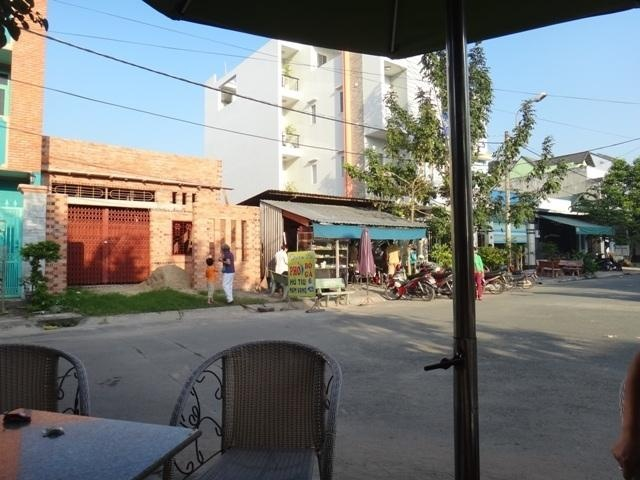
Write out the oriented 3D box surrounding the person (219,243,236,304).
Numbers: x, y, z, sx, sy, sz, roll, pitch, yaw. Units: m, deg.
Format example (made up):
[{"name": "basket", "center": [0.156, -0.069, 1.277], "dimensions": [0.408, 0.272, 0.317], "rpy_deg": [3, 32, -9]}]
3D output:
[{"name": "person", "center": [-2.617, 0.929, 18.520], "dimensions": [0.353, 1.679, 1.088], "rpy_deg": [0, -4, -9]}]
